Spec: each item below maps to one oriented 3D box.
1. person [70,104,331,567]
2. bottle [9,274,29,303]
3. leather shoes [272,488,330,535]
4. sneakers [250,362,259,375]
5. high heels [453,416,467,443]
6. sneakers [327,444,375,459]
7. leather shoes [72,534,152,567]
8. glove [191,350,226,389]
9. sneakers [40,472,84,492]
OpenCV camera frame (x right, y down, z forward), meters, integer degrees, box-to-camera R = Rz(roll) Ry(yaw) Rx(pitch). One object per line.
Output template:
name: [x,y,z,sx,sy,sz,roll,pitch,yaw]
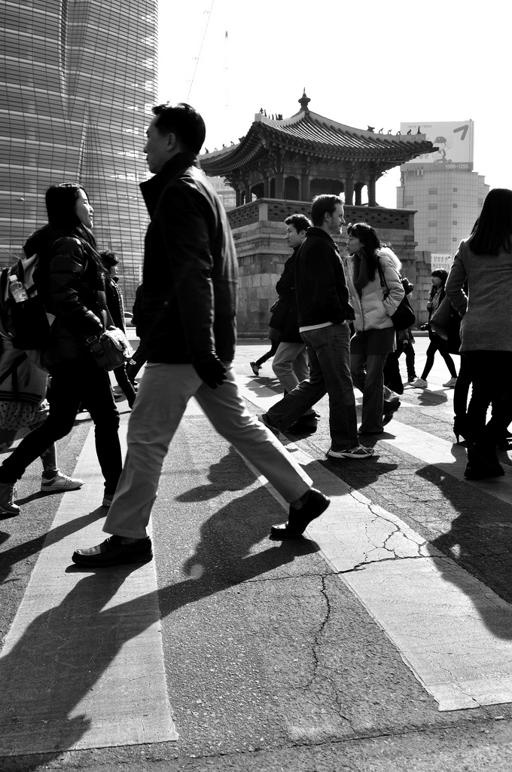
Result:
person: [-0.275,-0.185,2.709,0.973,1.889,0.661,-9,19,-39]
bottle: [-1.215,-0.501,3.428,0.056,0.063,0.205,-25,41,-8]
leather shoes: [0.207,0.585,3.057,0.102,0.238,0.085,43,14,-18]
sneakers: [-0.019,-0.248,10.736,0.105,0.256,0.087,-11,13,16]
high heels: [1.559,0.331,5.095,0.109,0.251,0.083,3,-2,-24]
sneakers: [0.676,0.468,4.743,0.304,0.135,0.115,-2,0,-1]
leather shoes: [-0.581,0.680,2.758,0.341,0.147,0.123,3,-5,-15]
glove: [-0.200,-0.063,2.518,0.096,0.135,0.175,-11,20,-44]
sneakers: [-1.171,0.585,4.056,0.299,0.139,0.099,-1,3,-19]
